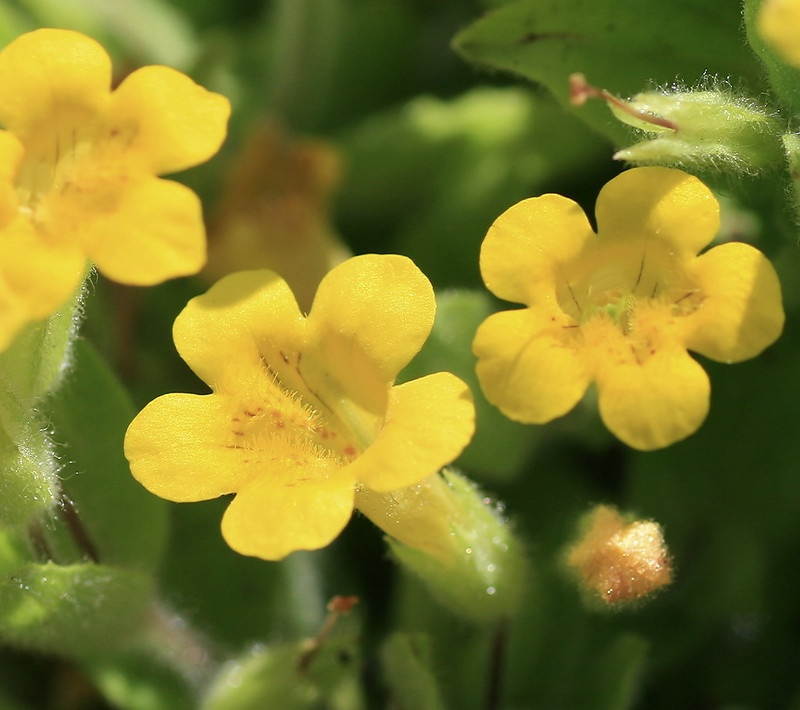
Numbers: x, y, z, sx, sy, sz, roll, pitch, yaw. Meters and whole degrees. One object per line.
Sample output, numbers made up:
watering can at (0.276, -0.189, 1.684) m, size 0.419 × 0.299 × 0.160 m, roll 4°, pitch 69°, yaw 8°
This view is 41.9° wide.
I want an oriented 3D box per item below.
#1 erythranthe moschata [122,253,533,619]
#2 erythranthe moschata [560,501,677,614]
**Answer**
erythranthe moschata at (-0.025, 0.062, 0.922) m, size 0.363 × 0.241 × 0.269 m, roll 20°, pitch 81°, yaw 5°
erythranthe moschata at (0.200, 0.190, 0.978) m, size 0.092 × 0.050 × 0.096 m, roll -25°, pitch 80°, yaw -3°
